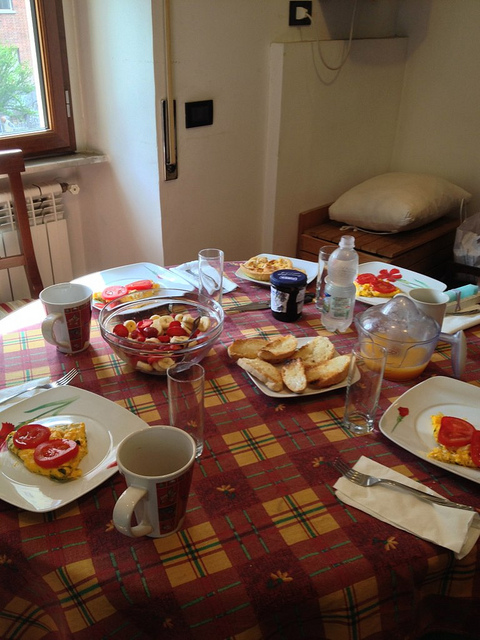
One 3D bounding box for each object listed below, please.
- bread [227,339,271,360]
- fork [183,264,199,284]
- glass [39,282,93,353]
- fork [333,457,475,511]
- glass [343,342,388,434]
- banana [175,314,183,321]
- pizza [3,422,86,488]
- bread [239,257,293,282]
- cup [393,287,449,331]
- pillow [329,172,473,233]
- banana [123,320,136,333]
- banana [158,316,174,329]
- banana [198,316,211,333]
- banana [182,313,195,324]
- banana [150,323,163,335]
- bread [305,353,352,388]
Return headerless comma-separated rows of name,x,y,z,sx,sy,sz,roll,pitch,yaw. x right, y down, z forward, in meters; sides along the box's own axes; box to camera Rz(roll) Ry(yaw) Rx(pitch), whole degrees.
bread,0.016,0.052,0.982,0.066,0.012,0.044,-14,37,-24
fork,-0.138,-0.132,1.331,0.024,0.016,0.101,-16,33,-16
glass,-0.352,-0.002,0.970,0.090,0.107,0.126,8,34,0
fork,0.206,0.224,0.641,0.192,0.019,0.041,17,29,36
glass,0.201,0.110,0.789,0.068,0.149,0.061,8,20,10
banana,-0.127,-0.006,0.990,0.013,0.012,0.012,-2,-11,10
pizza,-0.266,0.188,0.673,0.093,0.015,0.076,13,25,21
bread,0.077,-0.149,1.383,0.155,0.034,0.146,-1,23,-1
cup,0.379,-0.021,0.998,0.057,0.085,0.086,-7,43,0
pillow,0.856,-0.650,2.609,0.586,0.241,0.479,-20,30,-38
banana,-0.221,0.011,0.954,0.008,0.022,0.023,-7,-31,45
banana,-0.150,0.004,0.978,0.026,0.009,0.024,5,32,-23
banana,-0.071,0.009,0.960,0.009,0.027,0.027,22,22,-24
banana,-0.108,-0.005,0.984,0.021,0.006,0.019,23,38,28
banana,-0.164,0.018,0.962,0.015,0.019,0.022,-38,60,-1
bread,0.163,0.096,0.887,0.096,0.021,0.056,-27,15,-36
